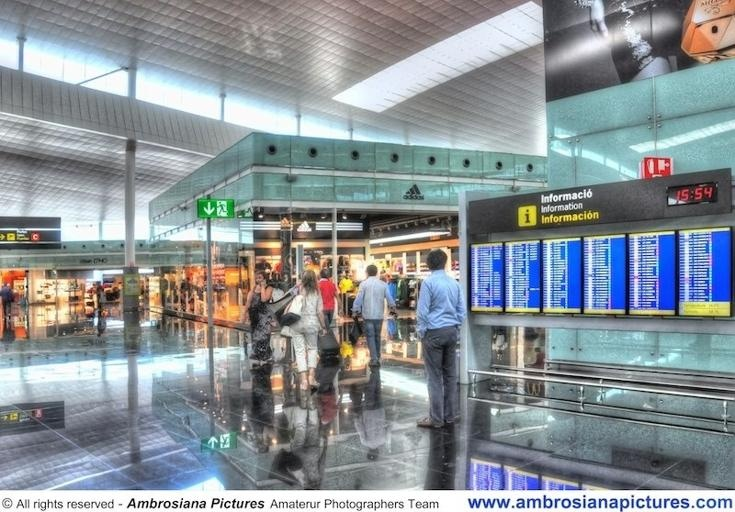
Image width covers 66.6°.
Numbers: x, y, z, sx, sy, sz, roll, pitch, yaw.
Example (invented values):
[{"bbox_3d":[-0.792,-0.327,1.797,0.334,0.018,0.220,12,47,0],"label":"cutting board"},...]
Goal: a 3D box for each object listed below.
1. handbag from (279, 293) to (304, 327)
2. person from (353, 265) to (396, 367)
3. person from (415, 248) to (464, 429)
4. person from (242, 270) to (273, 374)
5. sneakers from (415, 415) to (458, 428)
[{"bbox_3d":[-1.362,0.966,9.992,0.223,0.521,0.444,34,-18,-26],"label":"handbag"},{"bbox_3d":[0.146,1.233,11.916,0.861,2.072,1.136,-3,0,-1],"label":"person"},{"bbox_3d":[1.049,1.164,8.142,0.716,2.556,0.453,-3,-1,-43],"label":"person"},{"bbox_3d":[-2.324,1.338,12.125,0.523,1.902,0.821,-3,0,-12],"label":"person"},{"bbox_3d":[1.045,2.415,8.100,0.644,0.230,0.200,5,-7,-6],"label":"sneakers"}]
